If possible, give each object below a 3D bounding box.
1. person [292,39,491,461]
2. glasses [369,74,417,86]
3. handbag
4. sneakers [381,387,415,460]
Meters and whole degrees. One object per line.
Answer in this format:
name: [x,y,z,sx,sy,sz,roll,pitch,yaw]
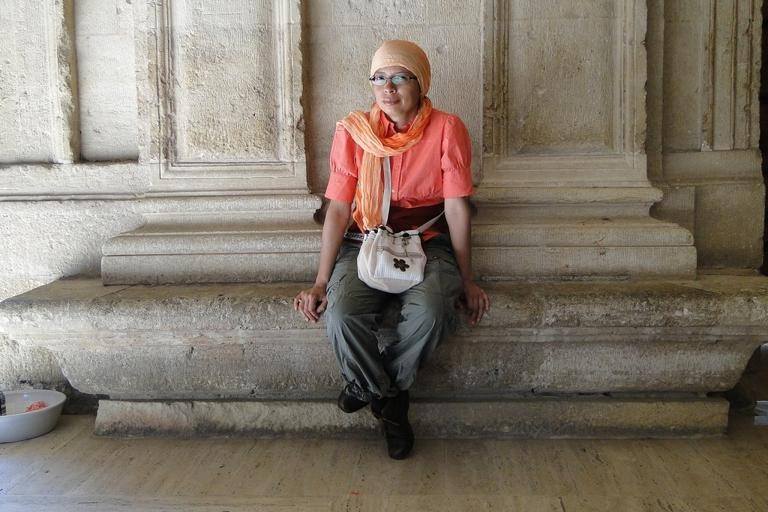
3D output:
person: [0.030,-0.045,3.678,0.947,2.013,0.770,-2,18,6]
glasses: [0.048,-0.890,3.686,0.230,0.058,0.062,-2,16,1]
handbag: [0.039,0.017,3.664,0.333,0.316,0.272,-3,17,0]
sneakers: [0.071,0.834,3.652,0.158,0.327,0.179,-4,17,0]
